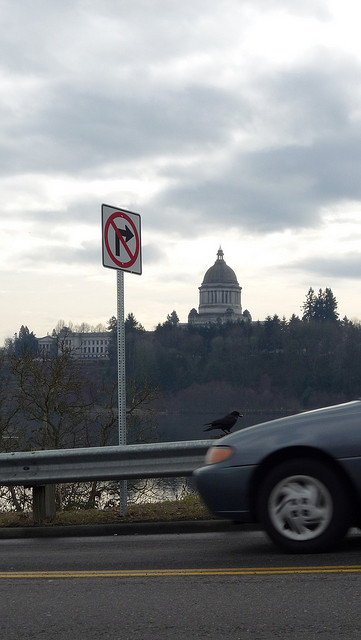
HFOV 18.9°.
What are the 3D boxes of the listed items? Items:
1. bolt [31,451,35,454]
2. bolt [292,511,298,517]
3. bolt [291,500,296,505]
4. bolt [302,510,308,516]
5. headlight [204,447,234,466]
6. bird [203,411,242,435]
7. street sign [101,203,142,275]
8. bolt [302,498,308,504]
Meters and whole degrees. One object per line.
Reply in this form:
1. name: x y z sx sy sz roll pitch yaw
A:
1. bolt: -1.393 1.261 10.299 0.030 0.013 0.072 -4 -2 -8
2. bolt: 0.786 1.325 7.427 0.034 0.036 0.008 -3 -5 27
3. bolt: 0.778 1.245 7.413 0.034 0.025 0.004 -5 -2 12
4. bolt: 0.855 1.313 7.397 0.039 0.046 0.012 1 -3 9
5. headlight: 0.259 0.969 7.712 0.135 0.099 0.298 -3 -3 -32
6. bird: 0.503 1.233 12.745 0.314 0.190 0.503 -4 -2 1
7. street sign: -0.645 -0.885 11.926 0.230 0.566 1.002 -4 -2 12
8. bolt: 0.853 1.233 7.389 0.028 0.022 0.030 1 -1 8
